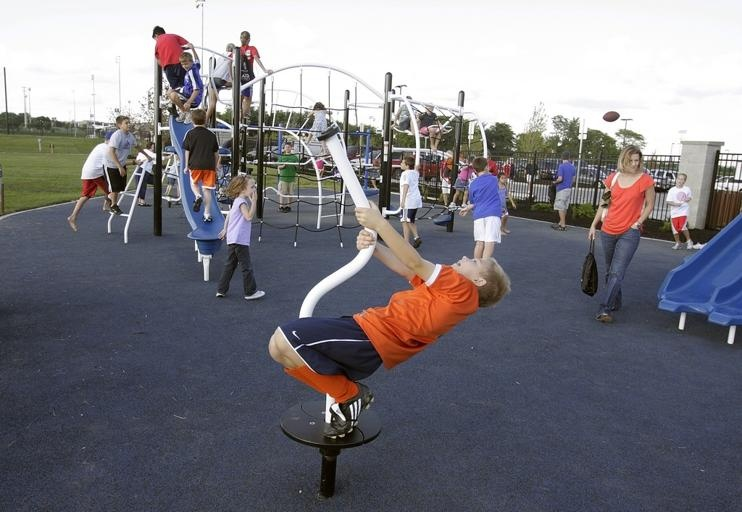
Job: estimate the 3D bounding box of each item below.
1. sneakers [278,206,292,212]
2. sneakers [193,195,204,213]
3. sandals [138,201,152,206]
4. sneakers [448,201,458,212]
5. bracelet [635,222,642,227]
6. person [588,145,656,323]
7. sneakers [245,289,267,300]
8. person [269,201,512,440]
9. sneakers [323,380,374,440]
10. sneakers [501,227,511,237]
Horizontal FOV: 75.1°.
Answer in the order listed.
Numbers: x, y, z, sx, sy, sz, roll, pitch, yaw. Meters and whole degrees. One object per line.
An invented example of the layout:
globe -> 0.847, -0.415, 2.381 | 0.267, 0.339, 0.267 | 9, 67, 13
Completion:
sneakers -> -3.064, -1.654, 17.369 | 0.167, 0.183, 0.428 | 2, -4, 16
sneakers -> -3.377, -1.003, 9.405 | 0.160, 0.320, 0.132 | 22, 17, -46
sandals -> -7.824, -1.822, 16.728 | 0.513, 0.220, 0.182 | 0, 14, -9
sneakers -> 2.390, -1.463, 14.347 | 0.249, 0.266, 0.360 | 4, 8, 38
bracelet -> 3.672, -0.425, 6.626 | 0.071, 0.053, 0.077 | -1, -2, -2
person -> 3.608, -0.356, 7.025 | 0.728, 2.459, 1.141 | 8, 15, 24
sneakers -> -1.772, 0.580, 7.328 | 0.218, 0.091, 0.123 | -11, 12, -14
person -> 0.095, 0.439, 3.119 | 1.472, 1.537, 0.383 | -2, 14, -16
sneakers -> -0.159, 1.019, 3.204 | 0.220, 0.487, 0.180 | 21, 28, -17
sneakers -> 4.103, -0.727, 14.665 | 0.183, 0.241, 0.612 | 4, 13, 17
